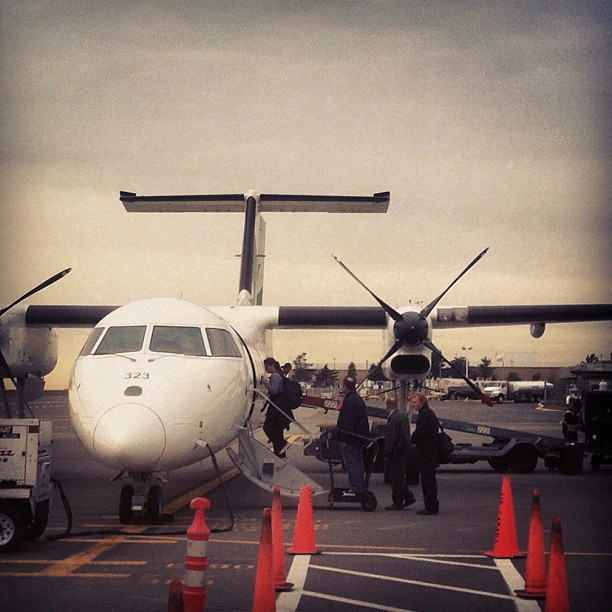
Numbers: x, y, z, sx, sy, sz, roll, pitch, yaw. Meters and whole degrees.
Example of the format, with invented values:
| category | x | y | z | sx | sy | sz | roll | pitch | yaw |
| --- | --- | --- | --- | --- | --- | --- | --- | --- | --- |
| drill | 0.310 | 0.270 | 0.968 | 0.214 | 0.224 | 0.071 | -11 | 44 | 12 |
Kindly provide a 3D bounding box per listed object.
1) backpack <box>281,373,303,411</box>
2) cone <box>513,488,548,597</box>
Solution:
| category | x | y | z | sx | sy | sz | roll | pitch | yaw |
| --- | --- | --- | --- | --- | --- | --- | --- | --- | --- |
| backpack | -0.203 | 1.311 | 16.645 | 0.455 | 0.476 | 0.358 | -1 | -5 | 22 |
| cone | 2.070 | 2.145 | 9.949 | 0.375 | 0.895 | 0.367 | 1 | -7 | 1 |
